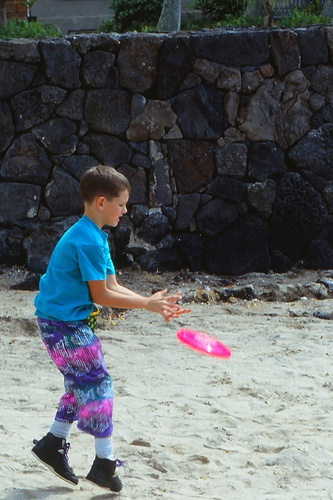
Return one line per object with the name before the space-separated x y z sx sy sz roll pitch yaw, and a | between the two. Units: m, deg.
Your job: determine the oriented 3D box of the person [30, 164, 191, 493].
person | -0.339 0.412 4.003 0.688 1.614 0.479 4 12 6
